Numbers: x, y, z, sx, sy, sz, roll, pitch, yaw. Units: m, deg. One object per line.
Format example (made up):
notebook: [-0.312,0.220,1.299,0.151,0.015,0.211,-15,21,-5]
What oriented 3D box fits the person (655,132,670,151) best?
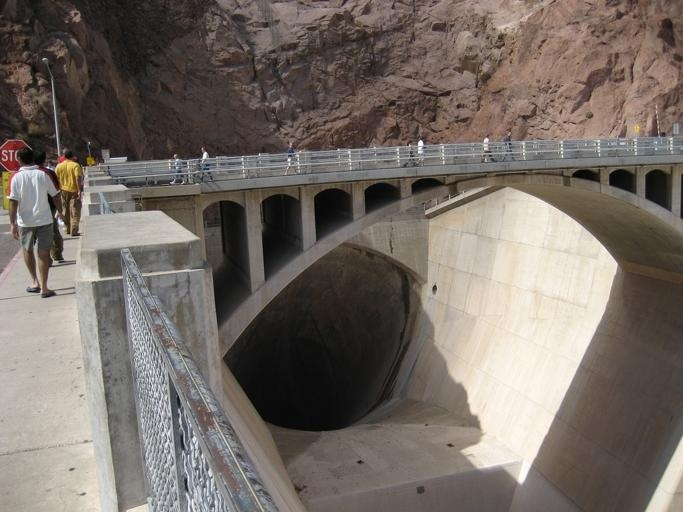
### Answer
person: [12.992,-4.506,22.983,0.463,0.626,1.230,5,4,37]

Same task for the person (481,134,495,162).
person: [5.529,-3.947,21.324,0.477,1.028,1.722,3,4,15]

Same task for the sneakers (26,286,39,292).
sneakers: [-4.696,0.493,8.656,0.077,0.058,0.142,0,-6,44]

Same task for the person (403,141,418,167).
person: [2.428,-3.459,19.791,0.457,0.852,1.044,3,4,7]

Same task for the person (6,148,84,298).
person: [-4.590,-0.500,8.464,0.612,2.174,0.878,1,4,-21]
